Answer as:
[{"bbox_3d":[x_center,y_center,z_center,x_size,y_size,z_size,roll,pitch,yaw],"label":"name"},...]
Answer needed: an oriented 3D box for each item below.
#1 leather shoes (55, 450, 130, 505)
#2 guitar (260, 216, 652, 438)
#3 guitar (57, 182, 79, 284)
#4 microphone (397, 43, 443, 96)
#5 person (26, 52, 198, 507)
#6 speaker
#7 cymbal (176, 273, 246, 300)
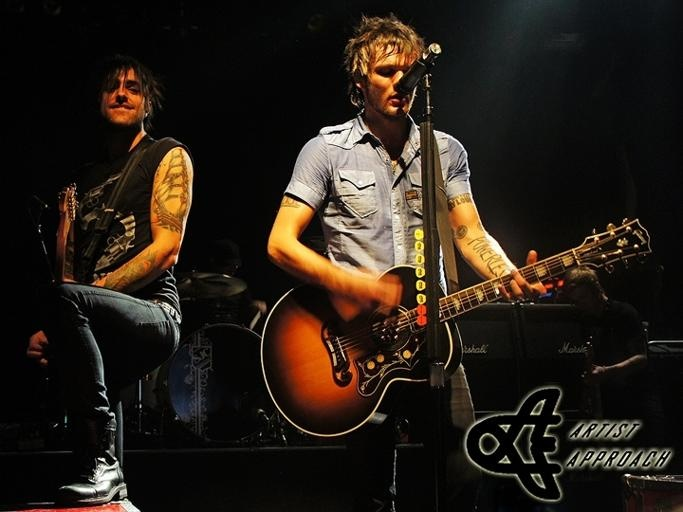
[{"bbox_3d":[-1.259,1.146,3.566,0.173,0.211,0.383,-3,-18,15],"label":"leather shoes"},{"bbox_3d":[0.453,0.444,4.106,1.828,1.179,0.352,0,2,-8],"label":"guitar"},{"bbox_3d":[-1.503,-0.123,3.820,0.094,0.512,0.280,0,2,-22],"label":"guitar"},{"bbox_3d":[0.433,-1.014,3.891,0.140,0.142,0.471,-28,-7,-21],"label":"microphone"},{"bbox_3d":[-1.300,-0.004,4.068,0.782,2.557,1.236,0,2,-5],"label":"person"},{"bbox_3d":[1.337,0.781,5.095,0.746,0.754,0.301,-1,-17,0],"label":"speaker"},{"bbox_3d":[-1.060,0.240,5.675,0.294,0.083,0.320,5,-32,-9],"label":"cymbal"}]
